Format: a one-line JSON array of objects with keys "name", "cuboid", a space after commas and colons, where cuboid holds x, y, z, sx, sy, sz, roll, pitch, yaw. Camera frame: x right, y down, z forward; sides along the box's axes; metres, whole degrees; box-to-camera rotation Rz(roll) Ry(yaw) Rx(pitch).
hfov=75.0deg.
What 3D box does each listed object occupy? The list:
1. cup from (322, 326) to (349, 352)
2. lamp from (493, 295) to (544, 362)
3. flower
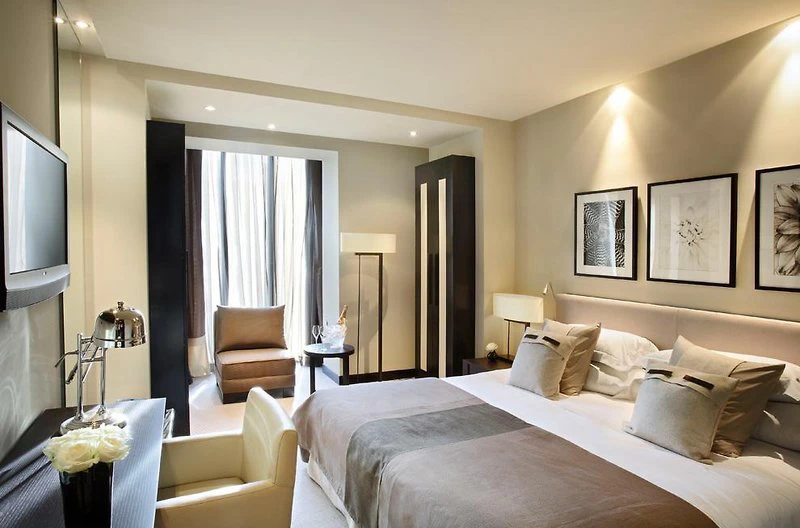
[{"name": "cup", "cuboid": [-0.667, 0.785, 5.463, 0.216, 0.183, 0.247, 2, -6, -12]}, {"name": "lamp", "cuboid": [1.138, 0.596, 5.003, 0.337, 0.626, 0.607, -2, 4, -23]}, {"name": "flower", "cuboid": [-1.356, 0.767, 2.280, 0.248, 0.109, 0.221, -2, 12, -39]}]
